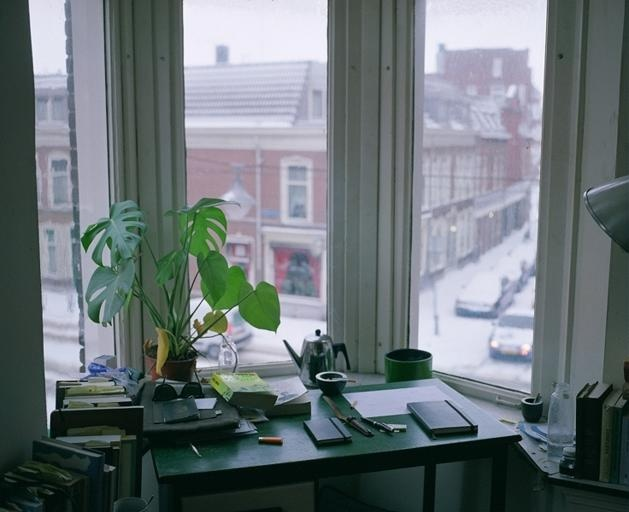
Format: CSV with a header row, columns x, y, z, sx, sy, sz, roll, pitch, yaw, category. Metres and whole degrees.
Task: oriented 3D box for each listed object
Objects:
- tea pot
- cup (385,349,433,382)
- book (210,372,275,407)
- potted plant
x,y,z,sx,sy,sz,roll,pitch,yaw,category
0.012,0.433,2.744,0.254,0.241,0.172,4,4,2,tea pot
0.397,0.464,2.735,0.198,0.129,0.170,-2,3,-6,cup
-0.253,0.507,2.428,0.214,0.065,0.233,12,3,-38,book
-0.541,0.133,2.574,0.710,0.709,0.671,-3,3,-22,potted plant
